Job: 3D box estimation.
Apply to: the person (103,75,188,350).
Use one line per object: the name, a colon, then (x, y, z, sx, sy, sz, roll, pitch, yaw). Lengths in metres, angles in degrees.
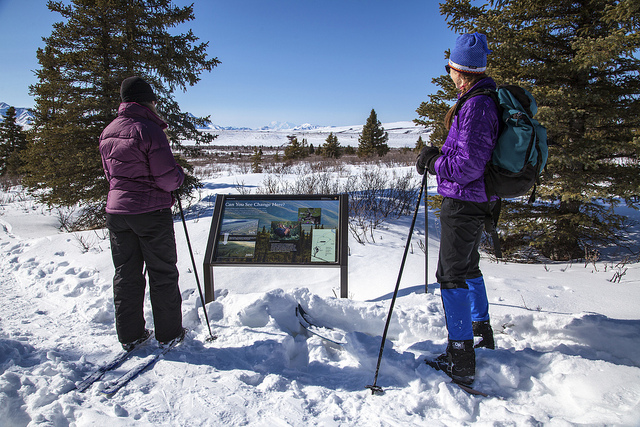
person: (-2.663, 0.002, 6.681, 1.162, 4.070, 0.393, 0, 6, -1)

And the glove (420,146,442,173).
glove: (1.581, -0.791, 6.387, 0.184, 0.398, 0.231, 14, -16, -38)

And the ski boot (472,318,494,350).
ski boot: (2.411, 1.772, 6.508, 0.270, 0.453, 0.453, -12, -39, 32)
